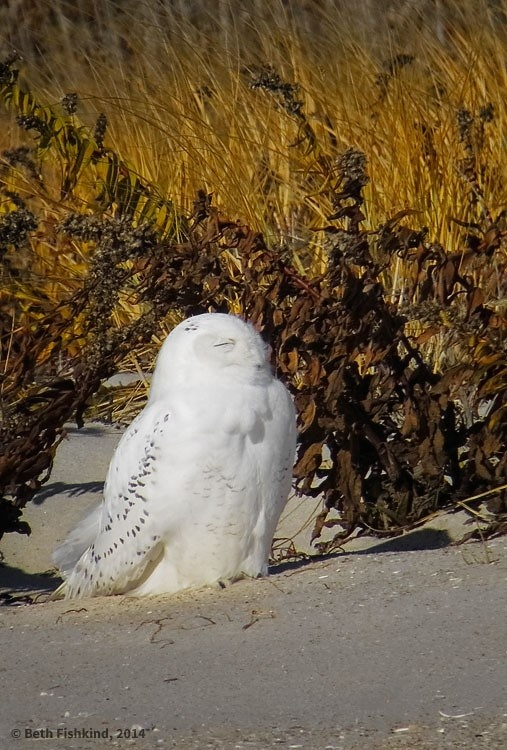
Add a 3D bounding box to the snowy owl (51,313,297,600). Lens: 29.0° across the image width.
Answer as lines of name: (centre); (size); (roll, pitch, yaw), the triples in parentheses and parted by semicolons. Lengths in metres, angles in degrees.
snowy owl: (-0.253, 0.246, 2.643); (0.847, 0.687, 0.506); (-15, -10, 29)
